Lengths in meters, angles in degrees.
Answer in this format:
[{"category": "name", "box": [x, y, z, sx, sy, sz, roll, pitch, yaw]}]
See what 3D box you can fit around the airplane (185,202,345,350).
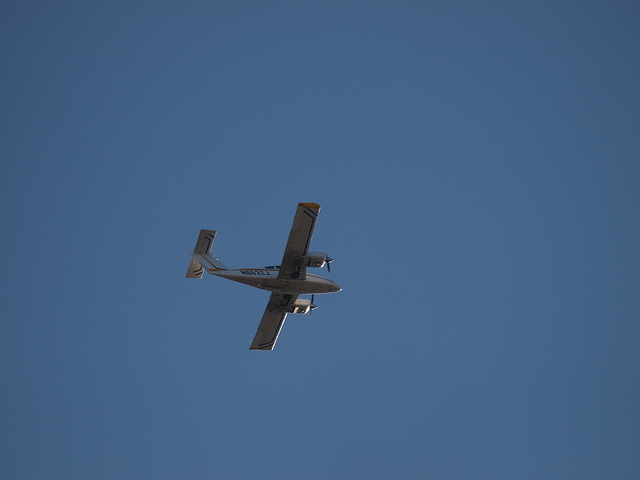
[{"category": "airplane", "box": [-1.820, 1.108, 39.582, 5.125, 1.502, 5.973, 7, -51, -7]}]
